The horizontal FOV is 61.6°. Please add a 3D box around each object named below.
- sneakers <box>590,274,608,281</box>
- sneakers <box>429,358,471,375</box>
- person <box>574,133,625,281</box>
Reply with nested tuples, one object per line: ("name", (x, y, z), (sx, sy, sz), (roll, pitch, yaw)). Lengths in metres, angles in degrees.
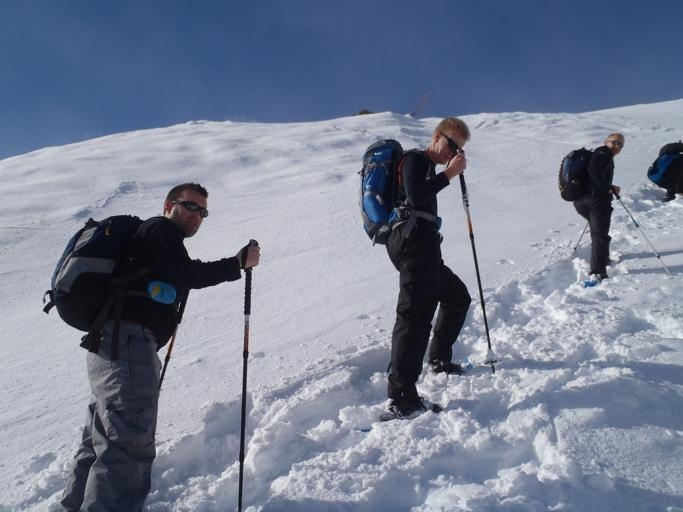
("sneakers", (3.375, 0.268, 7.461), (0.146, 0.058, 0.089), (4, -10, -10))
("sneakers", (1.137, 1.180, 6.132), (0.457, 0.197, 0.153), (-9, 8, -5))
("person", (3.428, -0.584, 7.620), (0.509, 1.668, 1.066), (-3, 19, 25))
